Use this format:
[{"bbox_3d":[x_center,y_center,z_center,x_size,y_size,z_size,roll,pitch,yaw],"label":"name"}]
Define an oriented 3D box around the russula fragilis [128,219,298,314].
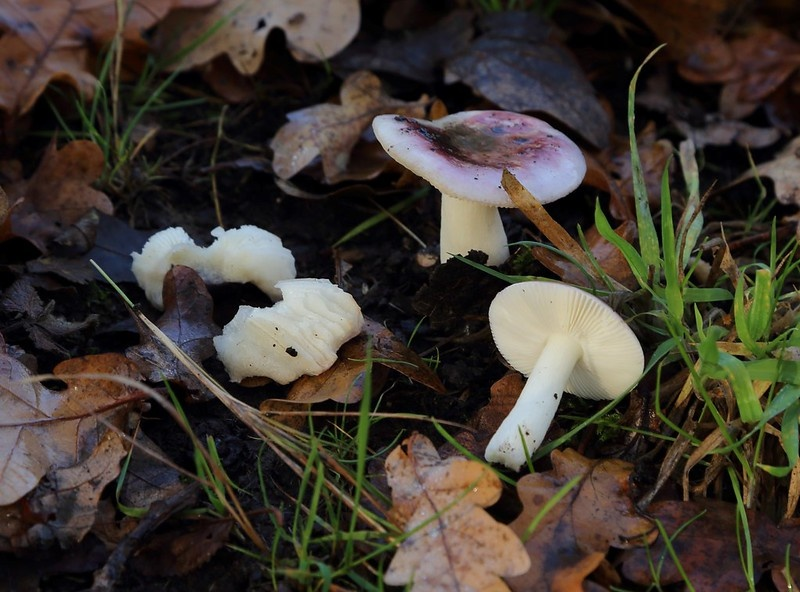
[{"bbox_3d":[-0.724,-0.131,3.037,0.548,0.242,0.317,-4,52,-6],"label":"russula fragilis"}]
